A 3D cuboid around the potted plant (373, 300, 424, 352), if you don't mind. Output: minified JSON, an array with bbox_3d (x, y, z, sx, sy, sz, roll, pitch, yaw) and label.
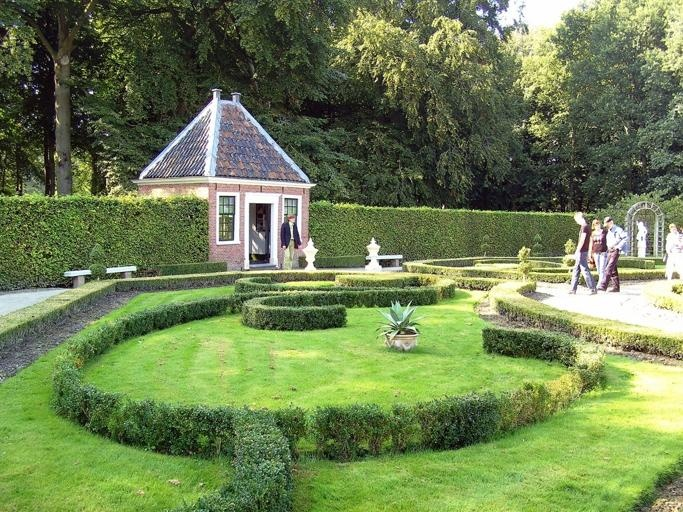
[{"bbox_3d":[1.229,1.441,14.928,0.804,1.044,1.151,1,0,2],"label":"potted plant"}]

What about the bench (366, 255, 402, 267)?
[{"bbox_3d":[2.203,0.229,33.638,1.161,0.519,3.143,1,0,26],"label":"bench"}]

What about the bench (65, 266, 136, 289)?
[{"bbox_3d":[-7.880,0.622,22.751,0.961,0.643,2.859,1,0,34],"label":"bench"}]
